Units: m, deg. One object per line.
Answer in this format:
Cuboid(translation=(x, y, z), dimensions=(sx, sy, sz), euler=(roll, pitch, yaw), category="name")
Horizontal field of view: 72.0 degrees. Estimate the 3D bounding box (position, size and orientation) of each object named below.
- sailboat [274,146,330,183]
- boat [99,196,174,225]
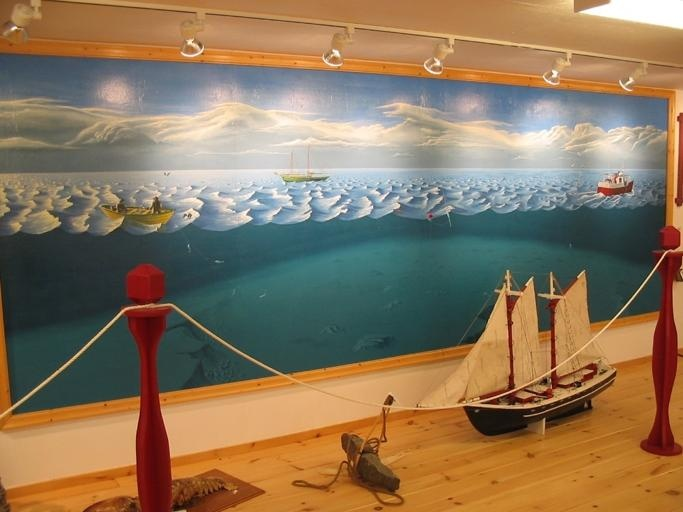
Cuboid(translation=(-0.370, -0.815, 4.281), dimensions=(0.560, 0.332, 0.195), euler=(2, 1, -21), category="sailboat")
Cuboid(translation=(-1.732, -0.369, 3.976), dimensions=(0.395, 0.138, 0.243), euler=(0, 23, -11), category="boat")
